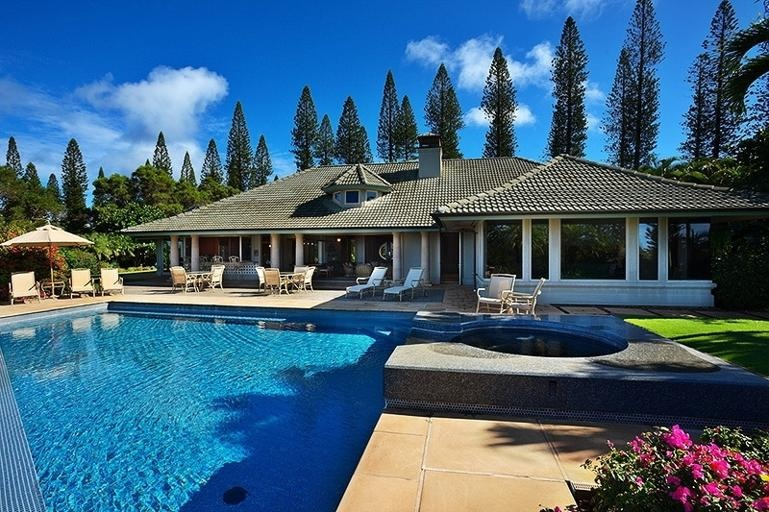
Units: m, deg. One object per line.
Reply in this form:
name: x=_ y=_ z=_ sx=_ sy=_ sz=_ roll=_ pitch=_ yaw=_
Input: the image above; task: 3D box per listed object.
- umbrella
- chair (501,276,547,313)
umbrella: x=-17.559 y=0.032 z=25.746 sx=3.930 sy=3.507 sz=4.214 roll=0 pitch=0 yaw=39
chair: x=6.185 y=1.787 z=22.187 sx=1.666 sy=2.261 sz=1.697 roll=3 pitch=-2 yaw=15
